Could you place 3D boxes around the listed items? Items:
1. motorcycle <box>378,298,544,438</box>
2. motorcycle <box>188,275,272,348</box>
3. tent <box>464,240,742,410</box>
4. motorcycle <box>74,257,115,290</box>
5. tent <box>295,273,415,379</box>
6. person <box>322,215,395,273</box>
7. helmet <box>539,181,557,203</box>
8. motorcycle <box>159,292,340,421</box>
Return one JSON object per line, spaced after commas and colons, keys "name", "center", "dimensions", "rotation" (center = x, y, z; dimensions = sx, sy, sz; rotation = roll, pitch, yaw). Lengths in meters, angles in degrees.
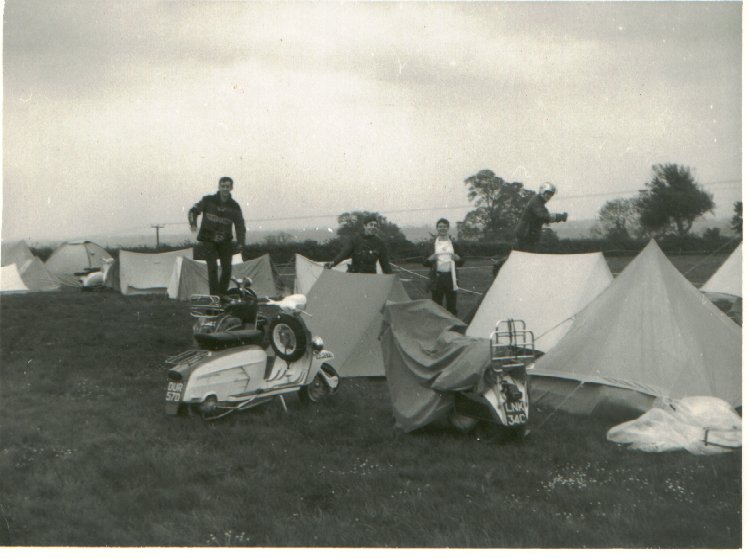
{"name": "motorcycle", "center": [0.708, 0.814, 6.866], "dimensions": [0.761, 1.155, 1.953], "rotation": [7, 1, -39]}
{"name": "motorcycle", "center": [-1.505, 0.293, 7.384], "dimensions": [0.815, 0.502, 0.441], "rotation": [-6, 8, -42]}
{"name": "tent", "center": [2.547, 0.634, 7.245], "dimensions": [1.804, 0.854, 1.890], "rotation": [0, 9, 1]}
{"name": "motorcycle", "center": [-5.984, -0.093, 15.558], "dimensions": [0.688, 0.700, 0.713], "rotation": [2, 1, -25]}
{"name": "tent", "center": [-0.272, 0.487, 8.820], "dimensions": [1.104, 0.844, 1.159], "rotation": [0, 4, 1]}
{"name": "person", "center": [-0.163, -0.451, 8.962], "dimensions": [0.653, 1.011, 0.291], "rotation": [9, -9, 6]}
{"name": "helmet", "center": [2.107, -1.058, 8.758], "dimensions": [0.228, 0.233, 0.277], "rotation": [0, 12, -8]}
{"name": "motorcycle", "center": [-1.307, 0.784, 7.520], "dimensions": [1.857, 1.173, 0.856], "rotation": [-7, 8, -39]}
